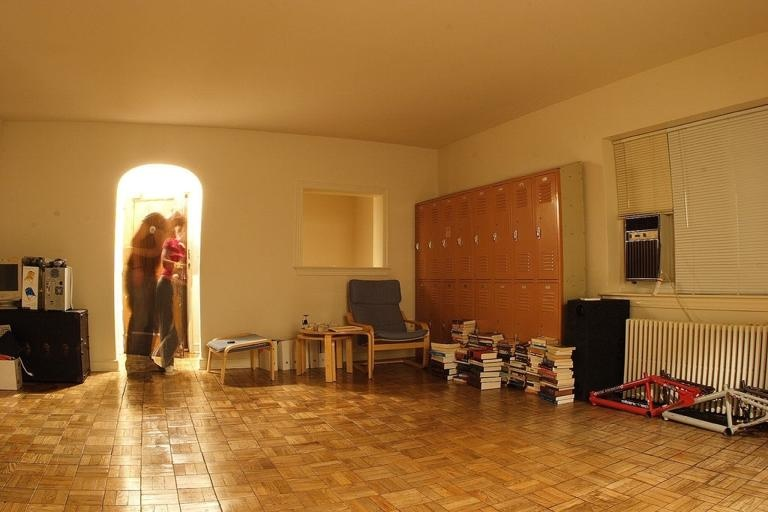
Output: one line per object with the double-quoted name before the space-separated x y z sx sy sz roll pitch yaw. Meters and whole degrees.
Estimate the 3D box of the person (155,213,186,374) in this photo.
"person" -3.107 0.488 7.838 0.390 2.256 0.432 1 -3 -11

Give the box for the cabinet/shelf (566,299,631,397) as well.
"cabinet/shelf" 2.580 1.095 6.444 0.715 1.160 0.258 1 -3 -11

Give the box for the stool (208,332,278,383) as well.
"stool" -1.972 1.380 7.544 0.980 0.578 0.958 1 -4 -18

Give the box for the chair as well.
"chair" 0.047 0.988 7.861 1.103 1.212 1.161 -1 2 -15

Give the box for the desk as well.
"desk" -0.780 1.317 7.595 0.786 0.711 0.951 2 -4 -32

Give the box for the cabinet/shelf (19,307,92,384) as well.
"cabinet/shelf" -4.316 1.195 7.348 1.067 0.910 0.801 -4 -1 5

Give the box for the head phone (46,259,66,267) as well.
"head phone" -4.343 0.097 7.137 0.165 0.069 0.142 3 -2 -27

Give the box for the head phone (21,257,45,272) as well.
"head phone" -4.611 0.150 7.064 0.312 0.203 0.166 3 -6 -33
